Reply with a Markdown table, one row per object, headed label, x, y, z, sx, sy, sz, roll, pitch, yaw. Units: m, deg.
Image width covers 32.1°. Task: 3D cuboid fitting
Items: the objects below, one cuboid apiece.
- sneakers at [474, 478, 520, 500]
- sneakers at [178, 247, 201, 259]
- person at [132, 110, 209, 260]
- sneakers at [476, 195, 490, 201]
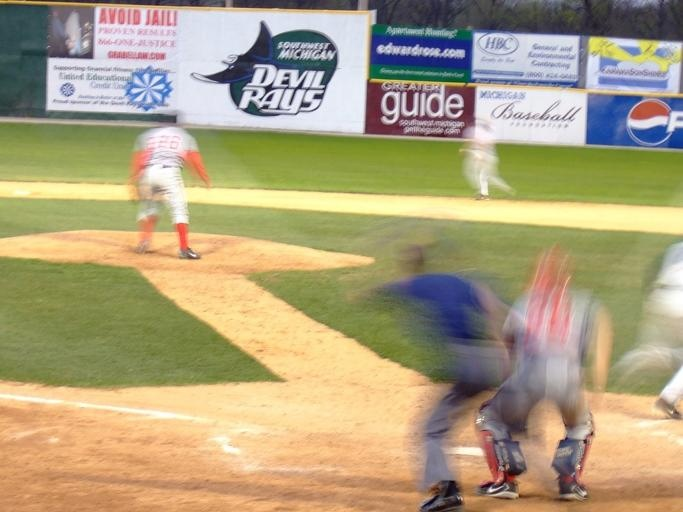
| label | x | y | z | sx | sy | sz | roll | pitch | yaw |
| --- | --- | --- | --- | --- | --- | --- | --- | --- | --- |
| sneakers | 2.017 | 2.905 | 14.824 | 0.631 | 0.209 | 0.205 | 4 | 3 | 7 |
| sneakers | -2.662 | -0.047 | 20.766 | 0.458 | 0.139 | 0.145 | 1 | 18 | -8 |
| person | -2.993 | -1.111 | 20.581 | 1.376 | 2.318 | 0.630 | 3 | 16 | 6 |
| sneakers | 3.411 | -1.394 | 27.940 | 0.132 | 0.173 | 0.361 | -10 | 16 | -34 |
